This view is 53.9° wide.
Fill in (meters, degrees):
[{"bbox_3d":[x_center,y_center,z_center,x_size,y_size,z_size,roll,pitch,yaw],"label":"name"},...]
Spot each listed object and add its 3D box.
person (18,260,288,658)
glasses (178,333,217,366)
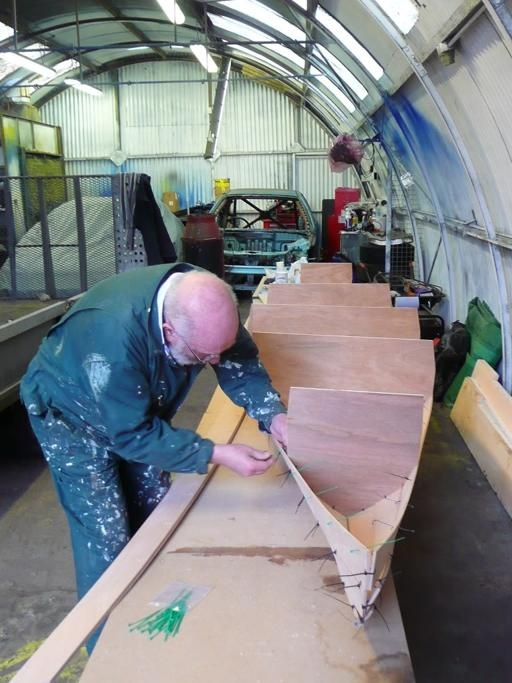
[{"bbox_3d":[-0.323,0.370,1.612,0.914,1.285,0.500,18,25,17],"label":"person"},{"bbox_3d":[-0.151,0.028,1.296,0.022,0.073,0.073,-33,-8,26],"label":"glasses"}]
